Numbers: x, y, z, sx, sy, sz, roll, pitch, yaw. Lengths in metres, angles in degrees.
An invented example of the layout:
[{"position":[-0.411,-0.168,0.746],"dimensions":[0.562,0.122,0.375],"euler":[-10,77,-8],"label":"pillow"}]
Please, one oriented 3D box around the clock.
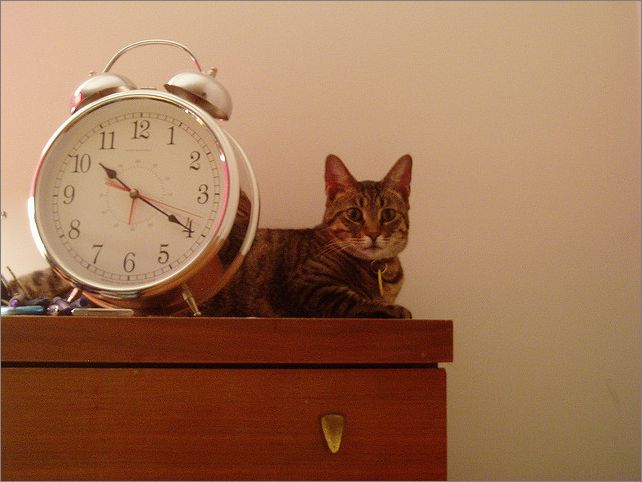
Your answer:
[{"position":[-0.389,-0.085,1.456],"dimensions":[0.490,0.490,0.135],"euler":[-3,-1,1],"label":"clock"}]
